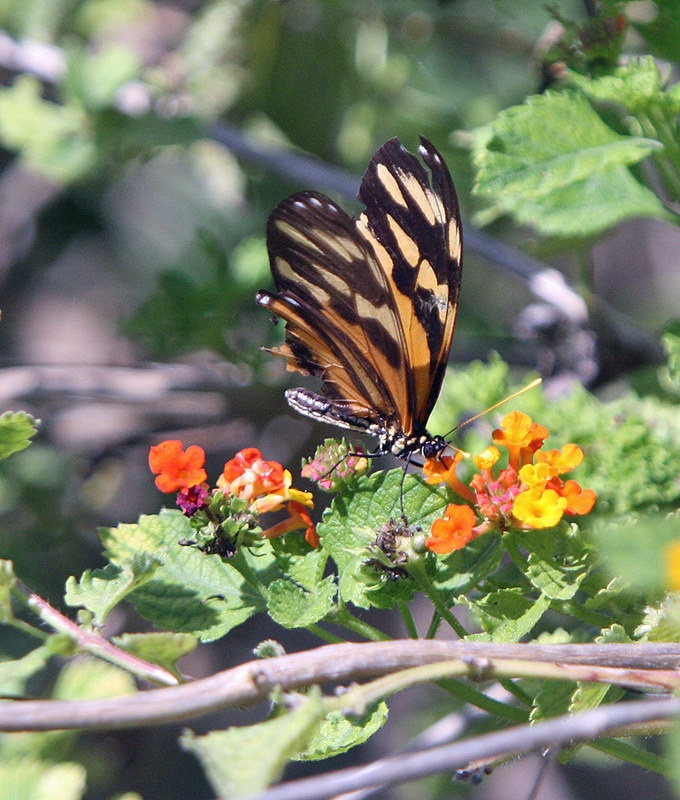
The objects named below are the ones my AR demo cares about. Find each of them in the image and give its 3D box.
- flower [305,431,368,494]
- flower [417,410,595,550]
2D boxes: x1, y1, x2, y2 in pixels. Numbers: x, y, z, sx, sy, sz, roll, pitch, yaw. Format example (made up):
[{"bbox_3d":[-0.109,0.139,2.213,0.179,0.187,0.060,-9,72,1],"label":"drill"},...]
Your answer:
[{"bbox_3d":[-0.008,0.095,1.498,0.090,0.108,0.050,-26,101,-52],"label":"flower"},{"bbox_3d":[0.217,0.136,1.453,0.256,0.093,0.237,19,51,34],"label":"flower"}]
